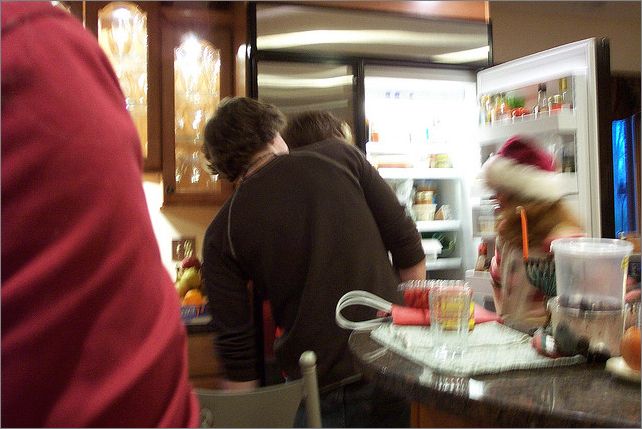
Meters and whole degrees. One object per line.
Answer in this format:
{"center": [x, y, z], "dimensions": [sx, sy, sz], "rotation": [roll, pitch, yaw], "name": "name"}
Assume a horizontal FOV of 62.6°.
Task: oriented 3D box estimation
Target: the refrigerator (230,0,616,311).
{"center": [0.385, -0.273, 2.056], "dimensions": [1.549, 1.649, 0.570], "rotation": [0, -3, -8], "name": "refrigerator"}

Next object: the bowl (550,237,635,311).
{"center": [0.507, 0.102, 0.989], "dimensions": [0.117, 0.096, 0.121], "rotation": [0, 2, 0], "name": "bowl"}

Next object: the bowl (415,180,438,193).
{"center": [0.649, -0.171, 3.223], "dimensions": [0.115, 0.121, 0.066], "rotation": [-1, -3, -9], "name": "bowl"}

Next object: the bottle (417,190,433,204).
{"center": [0.633, -0.091, 3.209], "dimensions": [0.077, 0.081, 0.077], "rotation": [3, -7, -19], "name": "bottle"}

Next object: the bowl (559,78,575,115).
{"center": [1.234, -0.605, 2.644], "dimensions": [0.063, 0.166, 0.171], "rotation": [0, 14, 20], "name": "bowl"}

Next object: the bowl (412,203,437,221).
{"center": [0.620, -0.008, 3.158], "dimensions": [0.113, 0.092, 0.094], "rotation": [3, -5, -33], "name": "bowl"}

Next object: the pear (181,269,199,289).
{"center": [-0.619, 0.307, 2.513], "dimensions": [0.078, 0.080, 0.077], "rotation": [1, -2, -37], "name": "pear"}

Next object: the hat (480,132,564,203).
{"center": [0.555, -0.125, 1.425], "dimensions": [0.143, 0.138, 0.205], "rotation": [19, 8, -15], "name": "hat"}

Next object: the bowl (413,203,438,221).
{"center": [0.615, -0.008, 3.193], "dimensions": [0.108, 0.091, 0.094], "rotation": [2, -6, -11], "name": "bowl"}

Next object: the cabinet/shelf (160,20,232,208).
{"center": [-0.659, -0.562, 2.850], "dimensions": [0.388, 1.004, 0.249], "rotation": [-2, 22, -16], "name": "cabinet/shelf"}

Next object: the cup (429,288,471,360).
{"center": [0.260, 0.217, 1.065], "dimensions": [0.083, 0.140, 0.081], "rotation": [1, -6, 0], "name": "cup"}
